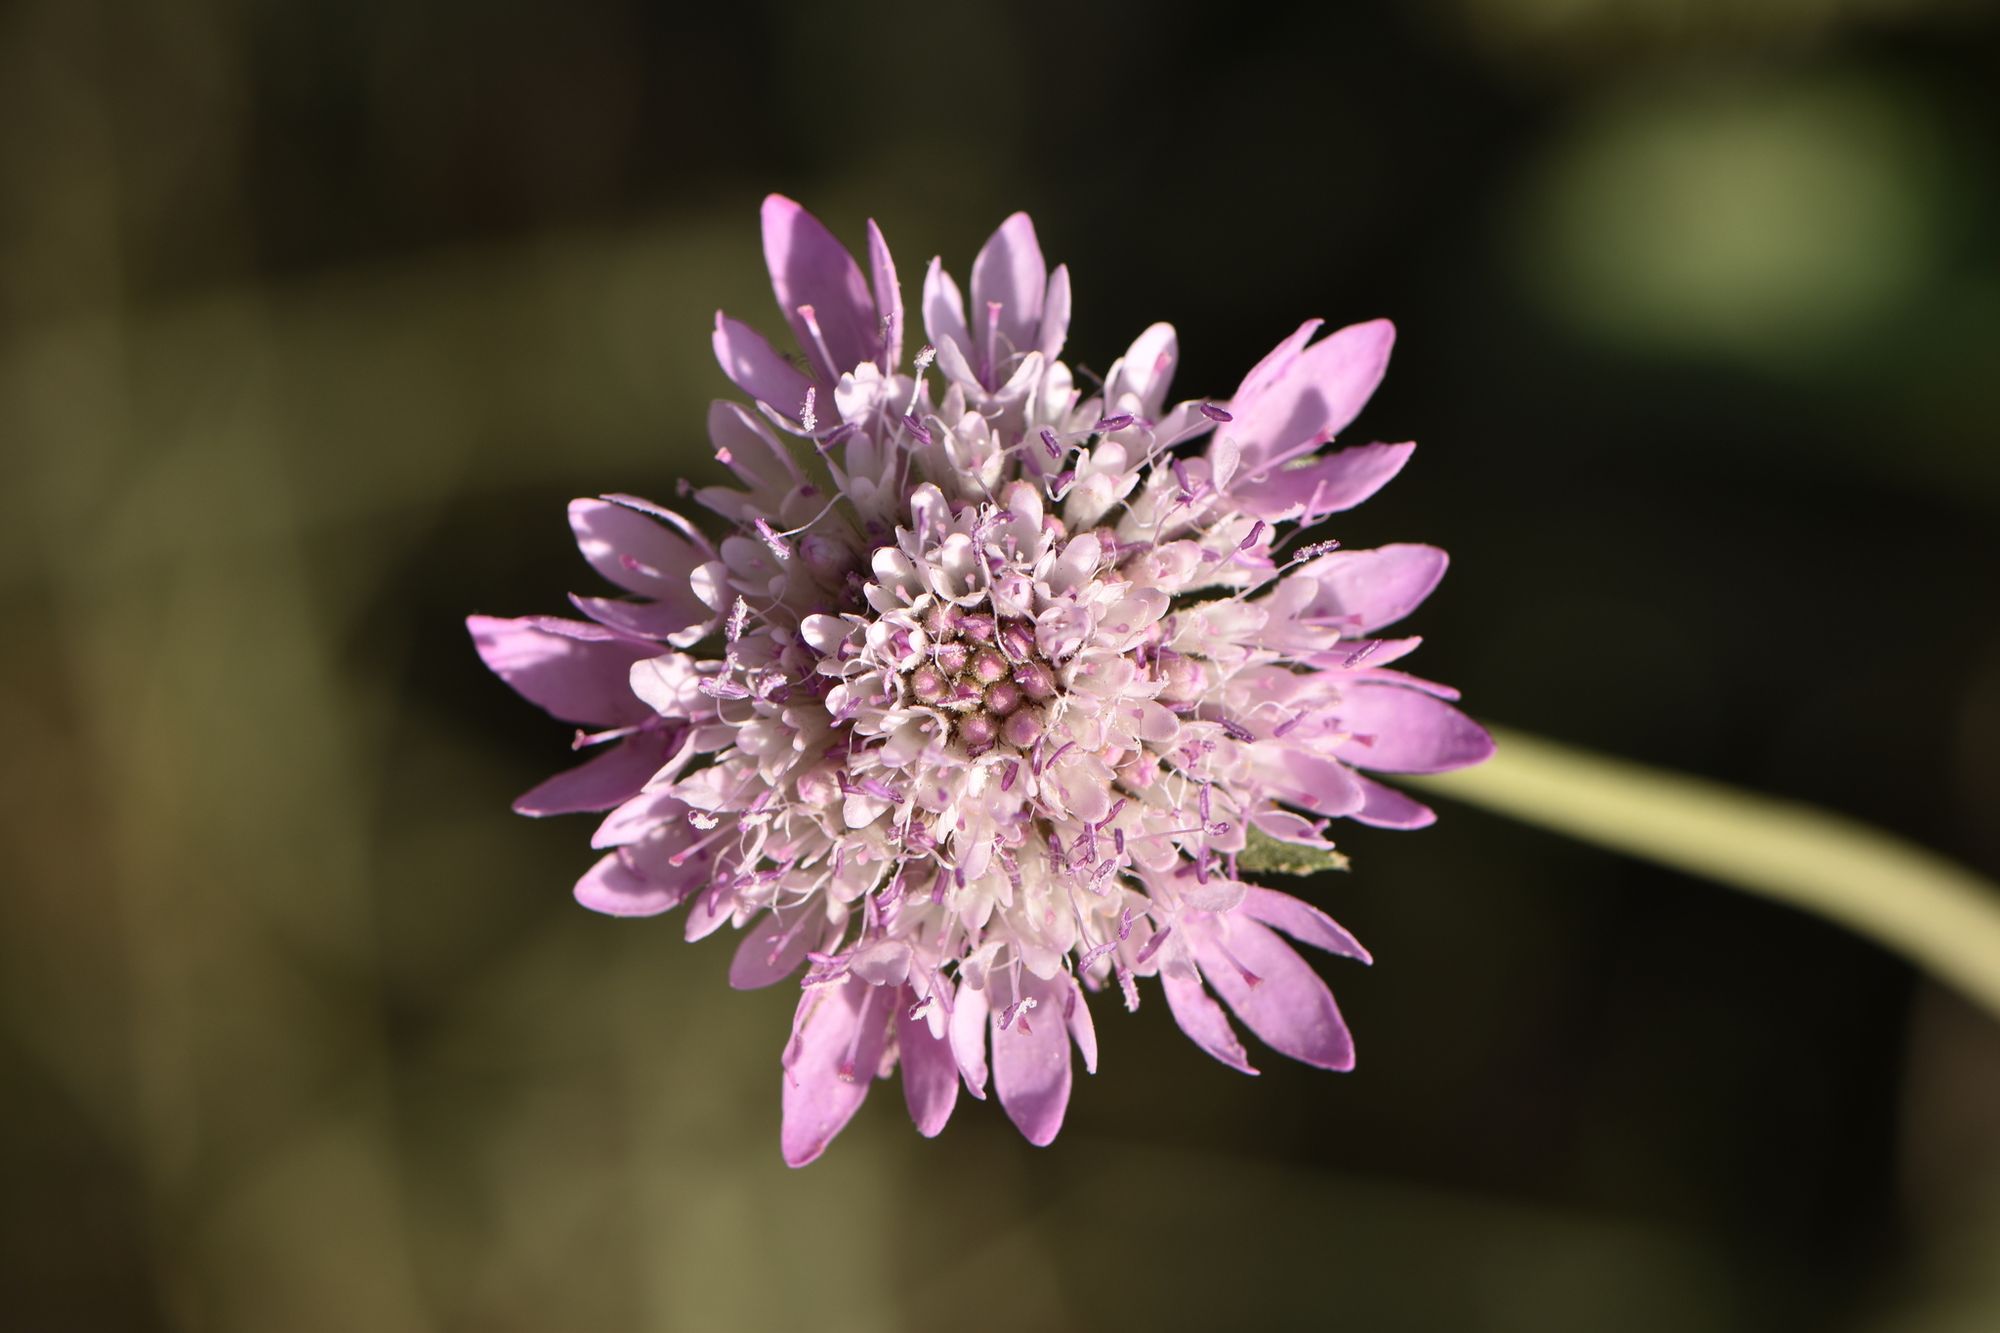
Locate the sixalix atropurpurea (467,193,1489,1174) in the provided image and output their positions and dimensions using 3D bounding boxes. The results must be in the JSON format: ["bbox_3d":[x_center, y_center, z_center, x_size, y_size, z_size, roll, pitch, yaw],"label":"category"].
[{"bbox_3d":[-0.016,0.029,1.413,0.688,0.461,0.680,-17,67,-10],"label":"sixalix atropurpurea"}]
